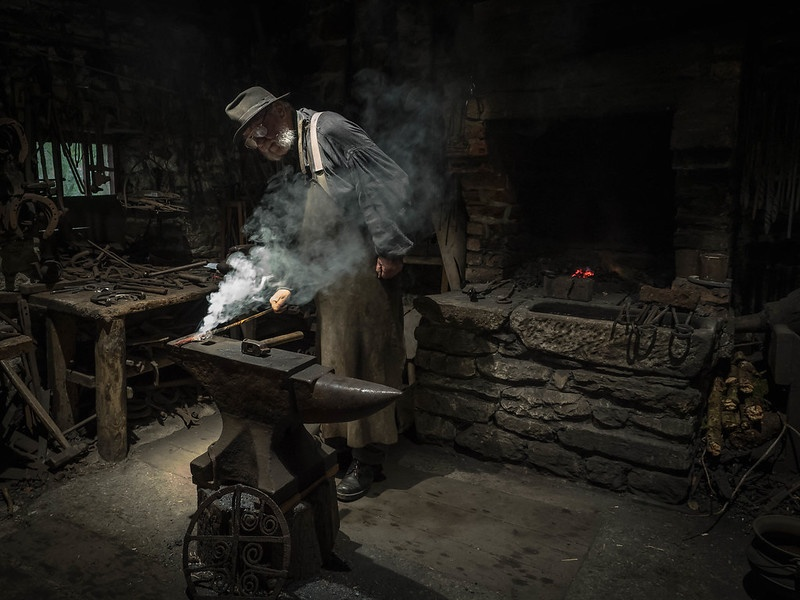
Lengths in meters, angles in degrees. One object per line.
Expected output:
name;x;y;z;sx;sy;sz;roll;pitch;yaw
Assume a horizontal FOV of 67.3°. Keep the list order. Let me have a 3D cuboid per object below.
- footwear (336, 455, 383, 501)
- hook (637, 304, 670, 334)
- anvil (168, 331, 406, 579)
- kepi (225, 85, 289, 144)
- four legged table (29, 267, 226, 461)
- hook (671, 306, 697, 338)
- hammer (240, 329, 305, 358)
footwear;-0.293;1.308;4.448;0.188;0.204;0.520;7;7;27
hook;1.907;0.105;4.471;0.128;0.060;0.549;1;18;40
anvil;-0.655;0.943;3.451;1.232;1.454;0.450;4;11;17
kepi;-0.955;-1.258;3.880;0.505;0.195;0.441;-38;22;-6
four legged table;-2.385;0.478;5.391;1.370;1.378;1.336;5;7;25
hook;2.098;0.176;4.345;0.158;0.232;0.263;-1;5;15
hammer;-1.048;0.346;4.916;0.240;0.141;0.736;4;6;21
